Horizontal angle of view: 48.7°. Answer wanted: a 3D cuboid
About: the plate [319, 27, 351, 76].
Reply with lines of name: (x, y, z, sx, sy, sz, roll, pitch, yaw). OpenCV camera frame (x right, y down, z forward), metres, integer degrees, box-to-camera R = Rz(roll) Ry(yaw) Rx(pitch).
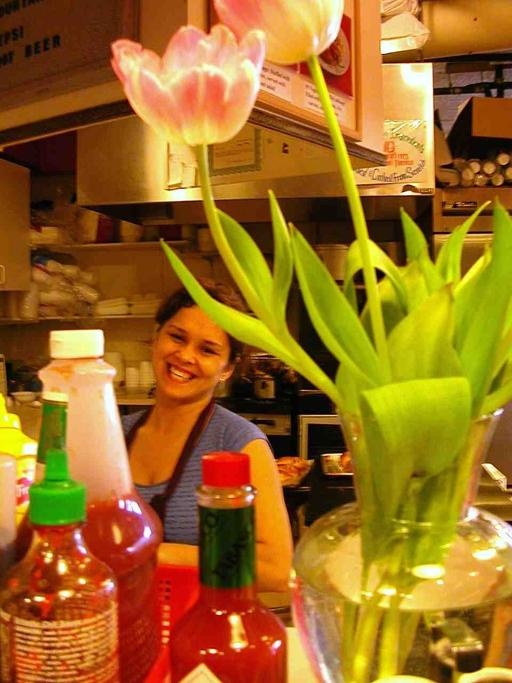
plate: (0.094, -0.328, 0.644, 0.039, 0.046, 0.016, -1, 20, -6)

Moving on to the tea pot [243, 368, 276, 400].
tea pot: (0.027, 0.289, 3.734, 0.146, 0.134, 0.185, -2, 1, -3)
